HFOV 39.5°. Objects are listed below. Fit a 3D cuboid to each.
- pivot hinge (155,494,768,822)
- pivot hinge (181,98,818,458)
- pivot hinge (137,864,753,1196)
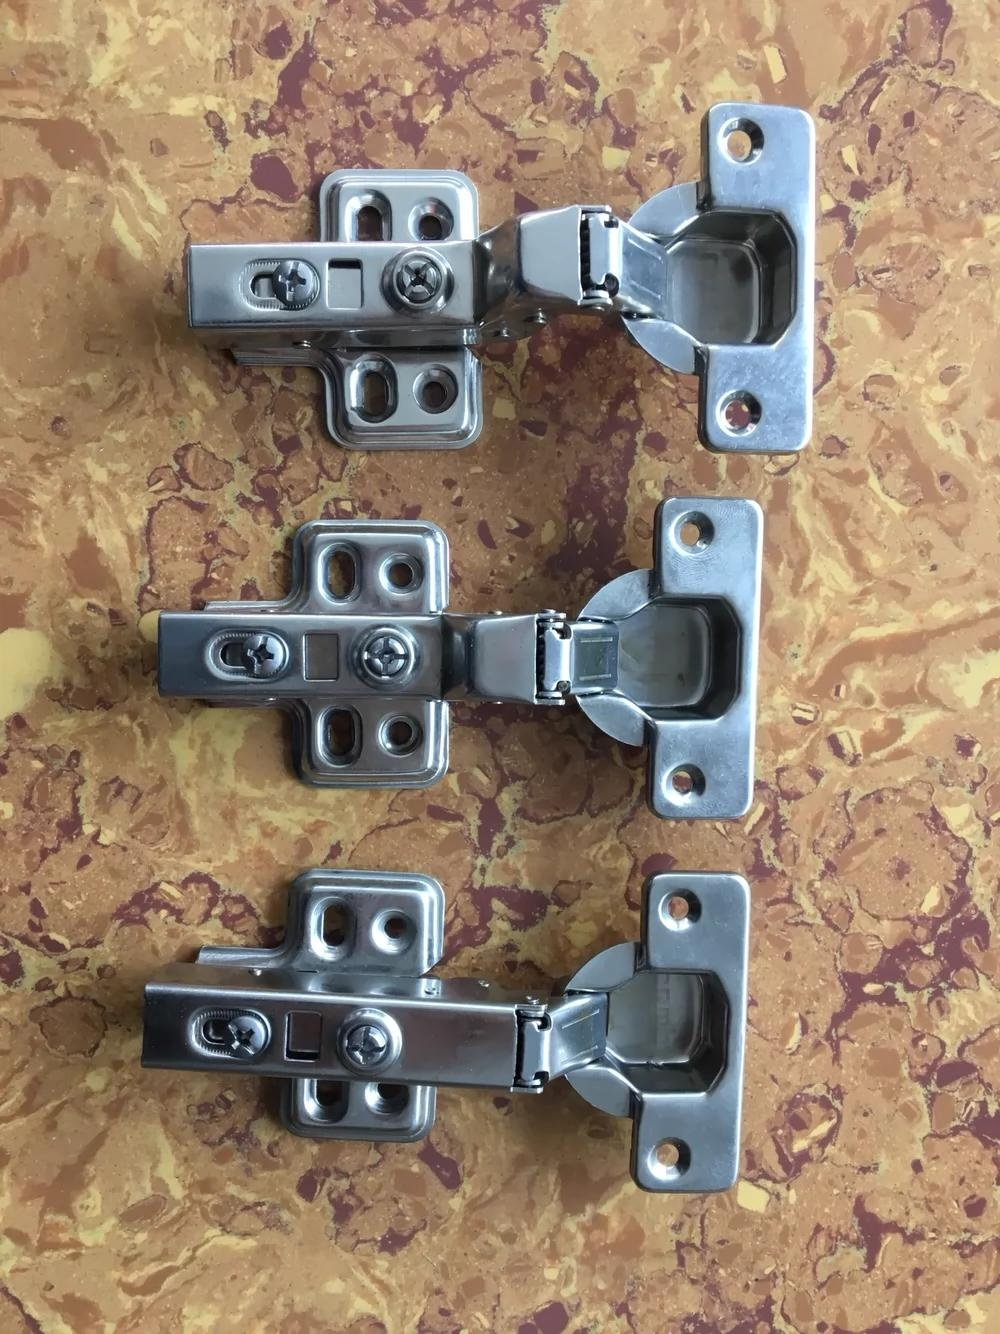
[{"bbox_3d":[-0.003,-0.012,0.814,0.370,0.091,0.181,0,88,-4],"label":"pivot hinge"},{"bbox_3d":[0.004,-0.236,0.861,0.386,0.126,0.197,0,95,0],"label":"pivot hinge"},{"bbox_3d":[-0.008,0.224,0.814,0.384,0.105,0.181,0,88,0],"label":"pivot hinge"}]
